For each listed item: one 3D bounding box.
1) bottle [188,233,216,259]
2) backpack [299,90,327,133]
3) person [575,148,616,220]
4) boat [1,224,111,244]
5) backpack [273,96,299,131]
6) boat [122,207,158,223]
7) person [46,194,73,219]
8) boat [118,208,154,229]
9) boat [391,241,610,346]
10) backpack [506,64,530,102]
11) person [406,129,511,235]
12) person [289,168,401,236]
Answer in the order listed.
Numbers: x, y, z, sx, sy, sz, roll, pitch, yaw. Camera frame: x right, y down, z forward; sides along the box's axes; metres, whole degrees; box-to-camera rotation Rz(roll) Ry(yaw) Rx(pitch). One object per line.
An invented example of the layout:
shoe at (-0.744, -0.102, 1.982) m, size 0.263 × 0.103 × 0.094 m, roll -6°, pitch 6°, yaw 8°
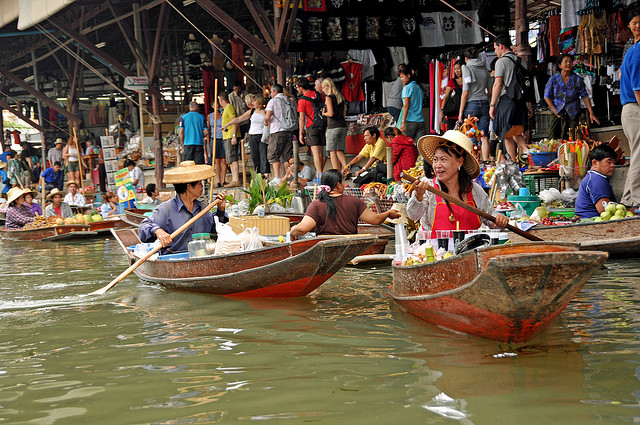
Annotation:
bottle at (-1.525, 0.435, 8.645) m, size 0.352 × 0.411 × 0.299 m, roll -1°, pitch -1°, yaw 8°
backpack at (-0.103, -2.165, 14.047) m, size 0.438 × 0.666 × 0.464 m, roll -20°, pitch 14°, yaw -27°
person at (3.958, -0.469, 9.702) m, size 0.504 × 0.970 × 1.161 m, roll 3°, pitch 14°, yaw 23°
boat at (-5.984, 0.477, 15.062) m, size 1.365 × 0.240 × 0.849 m, roll -5°, pitch 0°, yaw 5°
backpack at (-0.675, -2.049, 14.099) m, size 0.420 × 0.697 × 0.503 m, roll -7°, pitch 0°, yaw 23°
boat at (-3.518, 0.054, 13.103) m, size 0.322 × 0.265 × 1.068 m, roll -6°, pitch 4°, yaw -30°
person at (-6.611, -0.136, 17.105) m, size 0.763 × 0.828 × 0.567 m, roll -4°, pitch 3°, yaw -29°
boat at (-3.643, 0.119, 13.283) m, size 0.446 × 0.415 × 1.829 m, roll -2°, pitch 0°, yaw -25°
boat at (1.740, 0.853, 7.383) m, size 1.574 × 1.070 × 3.374 m, roll -3°, pitch 0°, yaw -8°
backpack at (3.436, -2.247, 11.630) m, size 0.188 × 0.648 × 0.584 m, roll 10°, pitch 18°, yaw 43°
person at (1.521, -0.317, 7.490) m, size 1.109 × 1.139 × 0.853 m, roll -1°, pitch 13°, yaw 7°
person at (0.334, -0.086, 9.242) m, size 1.429 × 1.217 × 0.908 m, roll 0°, pitch 28°, yaw 3°
